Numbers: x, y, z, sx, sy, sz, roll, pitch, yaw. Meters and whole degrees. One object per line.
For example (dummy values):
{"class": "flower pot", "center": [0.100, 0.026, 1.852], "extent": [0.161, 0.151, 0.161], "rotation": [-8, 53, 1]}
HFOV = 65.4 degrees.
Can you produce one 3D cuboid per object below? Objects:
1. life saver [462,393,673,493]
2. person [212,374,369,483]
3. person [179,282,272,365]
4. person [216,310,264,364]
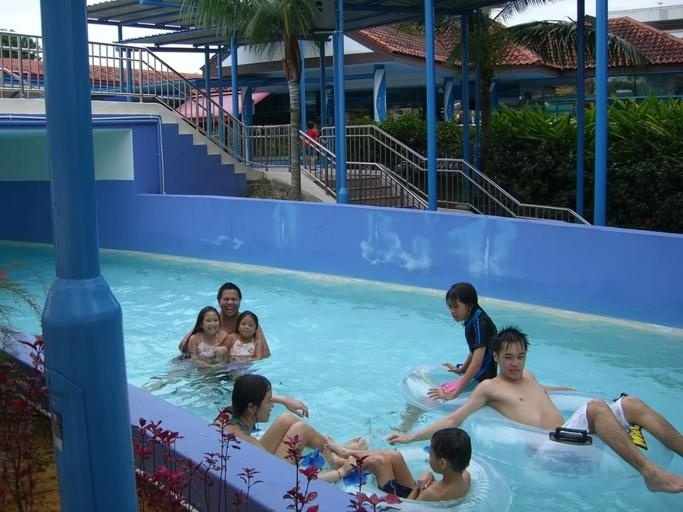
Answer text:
{"class": "life saver", "center": [1.806, 1.300, 4.080], "extent": [1.416, 0.400, 0.552], "rotation": [6, 14, 31]}
{"class": "person", "center": [-0.415, 1.253, 3.848], "extent": [1.021, 0.805, 0.684], "rotation": [-5, 15, -23]}
{"class": "person", "center": [-1.426, 0.827, 6.496], "extent": [1.001, 0.999, 0.567], "rotation": [1, 10, -14]}
{"class": "person", "center": [-1.234, 1.046, 6.362], "extent": [0.574, 0.798, 0.381], "rotation": [-1, 11, -45]}
